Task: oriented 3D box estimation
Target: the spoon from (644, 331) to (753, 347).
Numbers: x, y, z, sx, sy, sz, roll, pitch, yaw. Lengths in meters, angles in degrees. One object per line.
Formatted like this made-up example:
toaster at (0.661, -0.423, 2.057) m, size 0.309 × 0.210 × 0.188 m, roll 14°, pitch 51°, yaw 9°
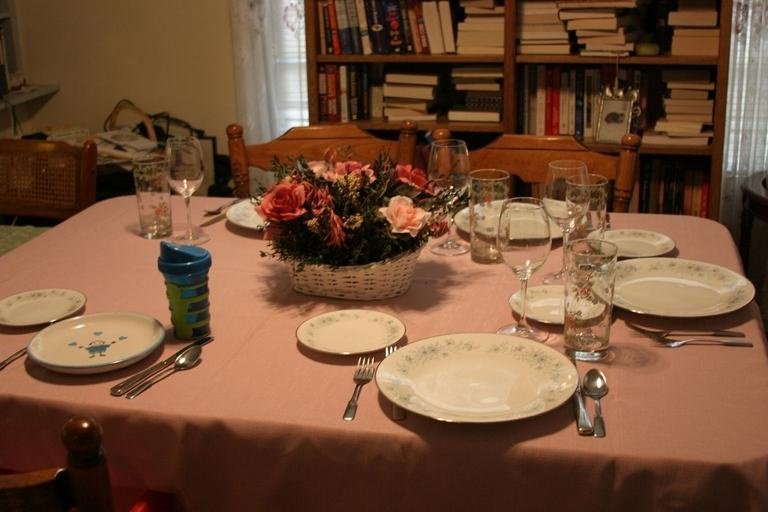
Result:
spoon at (0.587, 0.158, 1.106) m, size 0.186 × 0.022 × 0.056 m, roll -2°, pitch 24°, yaw 8°

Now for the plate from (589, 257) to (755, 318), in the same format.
plate at (0.633, 0.065, 1.265) m, size 0.188 × 0.026 × 0.190 m, roll 2°, pitch 24°, yaw 13°

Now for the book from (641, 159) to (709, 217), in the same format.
book at (1.345, -0.328, 2.685) m, size 0.316 × 0.318 × 0.155 m, roll 2°, pitch 12°, yaw 12°

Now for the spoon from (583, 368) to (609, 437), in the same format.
spoon at (0.345, 0.240, 0.954) m, size 0.035 × 0.019 × 0.138 m, roll 2°, pitch 38°, yaw 13°

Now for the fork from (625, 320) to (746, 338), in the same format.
fork at (0.590, 0.142, 1.134) m, size 0.124 × 0.019 × 0.018 m, roll -3°, pitch 32°, yaw 13°

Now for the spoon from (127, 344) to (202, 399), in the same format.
spoon at (-0.388, 0.198, 1.074) m, size 0.040 × 0.021 × 0.170 m, roll 27°, pitch 39°, yaw 24°

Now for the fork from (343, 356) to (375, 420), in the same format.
fork at (-0.049, 0.225, 1.008) m, size 0.025 × 0.014 × 0.125 m, roll 3°, pitch 33°, yaw 10°

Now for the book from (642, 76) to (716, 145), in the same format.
book at (1.319, -0.651, 2.721) m, size 0.279 × 0.331 × 0.332 m, roll 2°, pitch 10°, yaw 8°
